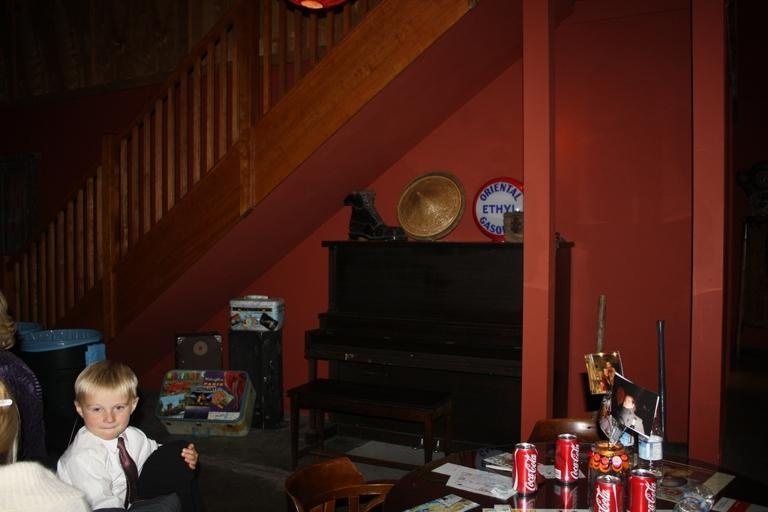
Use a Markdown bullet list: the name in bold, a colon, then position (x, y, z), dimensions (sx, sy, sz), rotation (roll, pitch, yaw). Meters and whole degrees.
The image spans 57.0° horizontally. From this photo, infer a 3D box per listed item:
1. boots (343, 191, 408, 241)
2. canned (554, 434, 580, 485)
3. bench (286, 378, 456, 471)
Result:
- **boots**: position (-0.071, -0.374, 6.478), dimensions (0.607, 0.472, 0.269), rotation (4, 3, 30)
- **canned**: position (1.045, 1.153, 4.035), dimensions (0.132, 0.270, 0.134), rotation (3, -8, 5)
- **bench**: position (-0.151, 1.466, 5.921), dimensions (1.202, 0.640, 0.504), rotation (3, 0, 13)
